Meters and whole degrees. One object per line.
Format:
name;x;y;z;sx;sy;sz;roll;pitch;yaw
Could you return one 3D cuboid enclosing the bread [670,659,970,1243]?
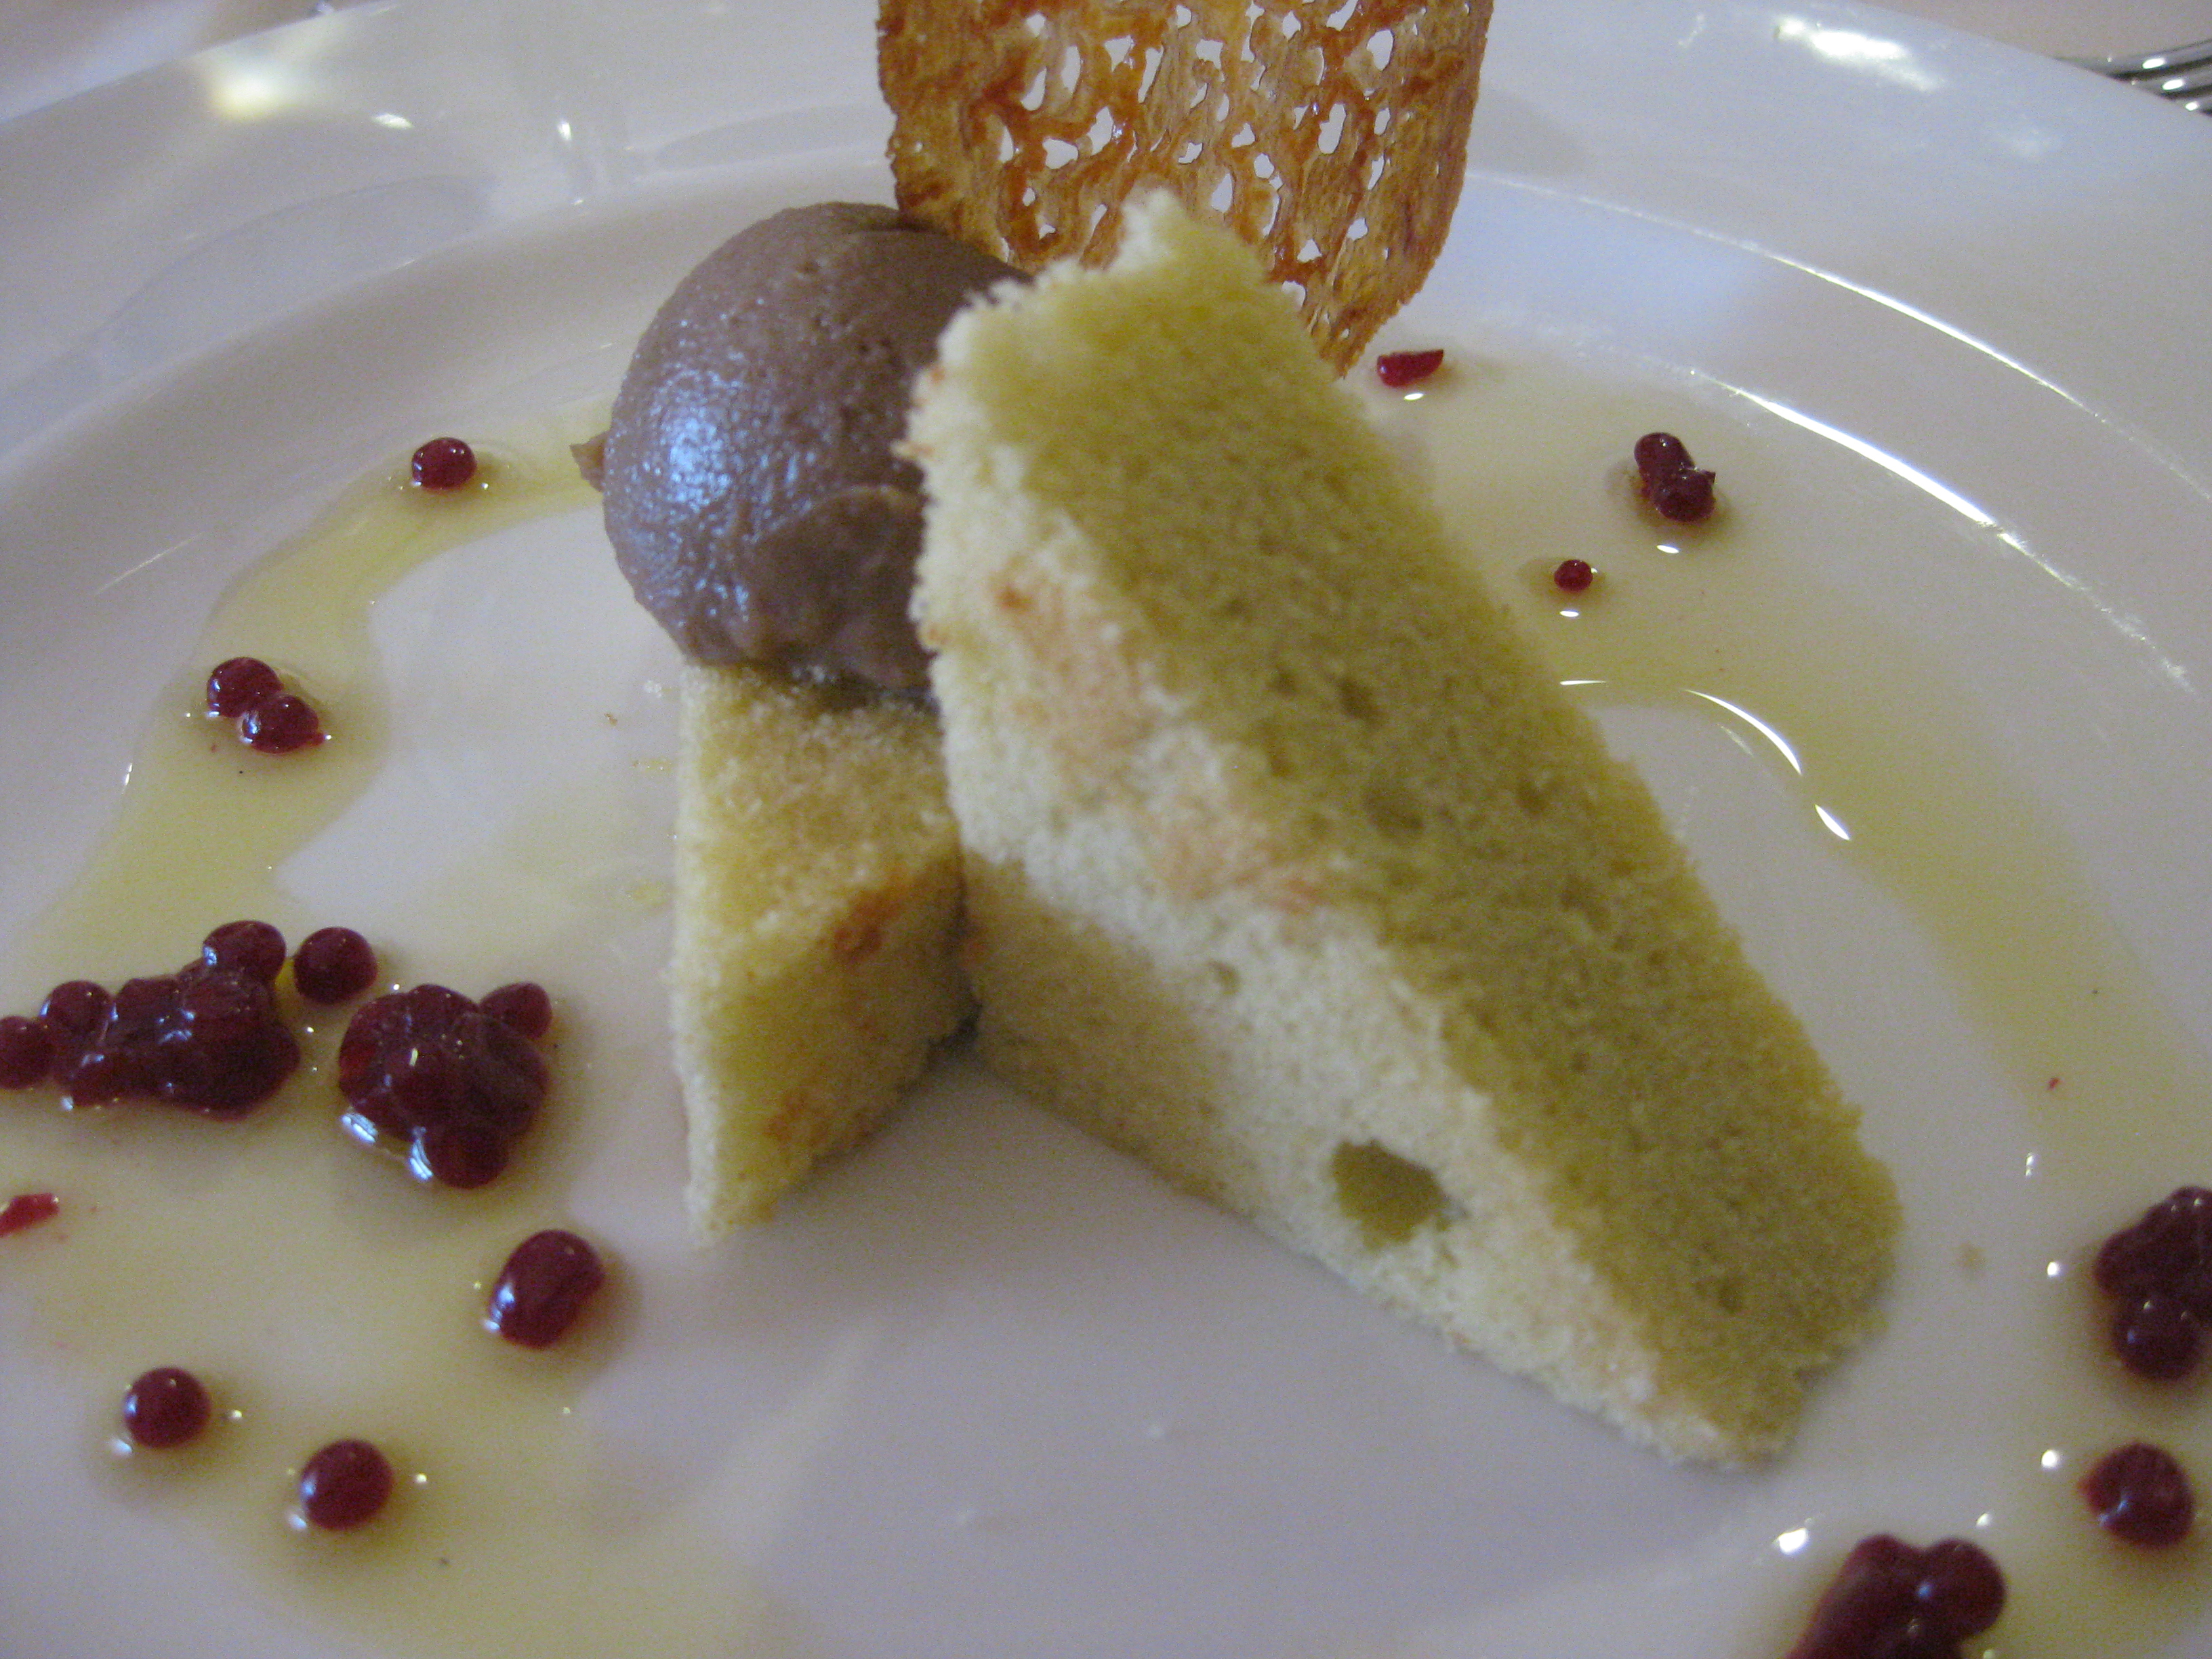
bread;-0.256;0.062;2.390;0.294;0.280;0.576;-4;41;-7
